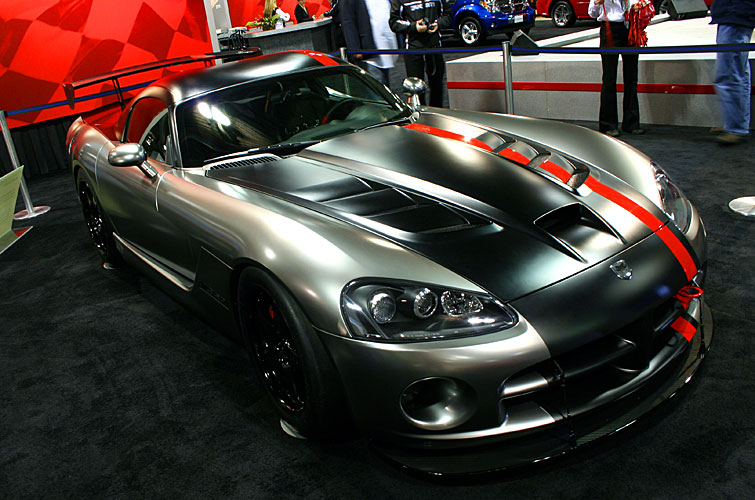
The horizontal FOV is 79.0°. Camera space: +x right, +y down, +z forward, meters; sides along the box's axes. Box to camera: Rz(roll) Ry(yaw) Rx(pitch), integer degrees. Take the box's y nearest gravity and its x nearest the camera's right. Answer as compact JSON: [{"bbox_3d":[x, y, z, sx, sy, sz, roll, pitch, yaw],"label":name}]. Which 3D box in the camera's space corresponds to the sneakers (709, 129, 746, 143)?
[{"bbox_3d":[4.125,-1.345,5.389,0.363,0.111,0.155,17,-1,8],"label":"sneakers"}]
